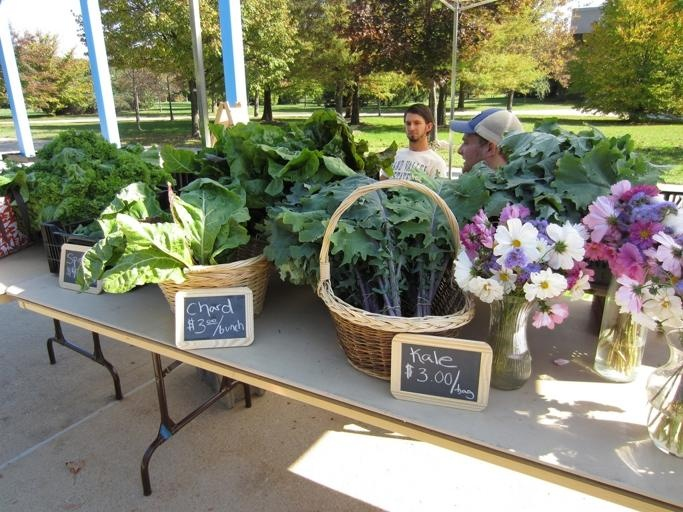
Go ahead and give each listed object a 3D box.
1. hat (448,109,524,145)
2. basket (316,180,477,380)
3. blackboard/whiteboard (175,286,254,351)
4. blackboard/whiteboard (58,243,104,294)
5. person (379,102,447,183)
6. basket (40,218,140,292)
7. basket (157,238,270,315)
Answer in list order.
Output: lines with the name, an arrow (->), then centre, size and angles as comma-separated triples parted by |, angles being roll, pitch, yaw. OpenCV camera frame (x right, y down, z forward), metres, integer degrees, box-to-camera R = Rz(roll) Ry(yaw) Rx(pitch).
hat -> 0.912, -0.827, 3.052 | 0.398, 0.223, 0.270 | 25, 23, 13
basket -> 0.199, 0.075, 1.930 | 0.538, 0.696, 0.648 | 0, 8, 33
blackboard/whiteboard -> -0.514, 0.258, 1.935 | 0.243, 0.195, 0.019 | 0, -1, -8
blackboard/whiteboard -> -1.157, 0.054, 2.153 | 0.200, 0.195, 0.015 | 16, 14, 24
person -> 0.658, -0.975, 4.170 | 0.490, 0.653, 2.283 | 2, 17, 9
basket -> -1.391, -0.014, 2.585 | 0.276, 0.293, 0.419 | 1, 10, 1
basket -> -0.529, 0.065, 2.047 | 0.394, 0.230, 0.362 | -5, 17, 1
